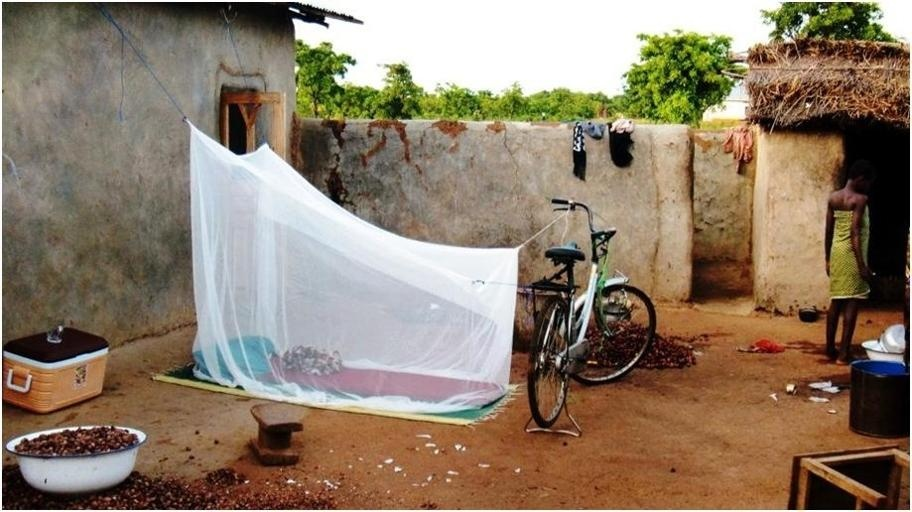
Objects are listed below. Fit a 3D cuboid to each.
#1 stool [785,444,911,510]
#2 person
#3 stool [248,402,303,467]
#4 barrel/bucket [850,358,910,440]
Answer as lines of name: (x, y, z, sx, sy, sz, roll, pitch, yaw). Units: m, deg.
stool: (3.496, 1.960, 7.540, 0.716, 0.405, 0.672, 0, -1, 0)
person: (4.543, 0.068, 9.942, 0.505, 2.355, 0.451, 5, 10, 22)
stool: (-1.779, 1.744, 8.397, 0.390, 0.497, 0.520, -5, 10, -38)
barrel/bucket: (4.178, 1.482, 9.023, 0.787, 0.766, 0.745, 0, -2, 0)
